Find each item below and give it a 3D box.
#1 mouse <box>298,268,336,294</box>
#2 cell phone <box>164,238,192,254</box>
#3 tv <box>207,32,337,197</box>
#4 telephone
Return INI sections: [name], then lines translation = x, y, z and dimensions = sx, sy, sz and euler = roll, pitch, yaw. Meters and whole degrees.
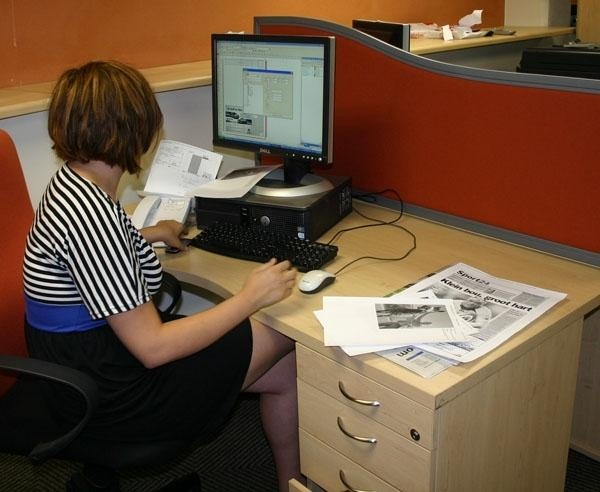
[mouse]
translation = 0.034, 0.093, 1.284
dimensions = 0.051, 0.029, 0.089
euler = 10, 22, 34
[cell phone]
translation = -0.403, 0.001, 1.589
dimensions = 0.040, 0.015, 0.077
euler = 15, 30, 23
[tv]
translation = -0.049, -0.460, 1.727
dimensions = 0.547, 0.518, 0.265
euler = 18, 28, 36
[telephone]
translation = -0.487, -0.081, 1.789
dimensions = 0.187, 0.064, 0.199
euler = 10, 51, 17
